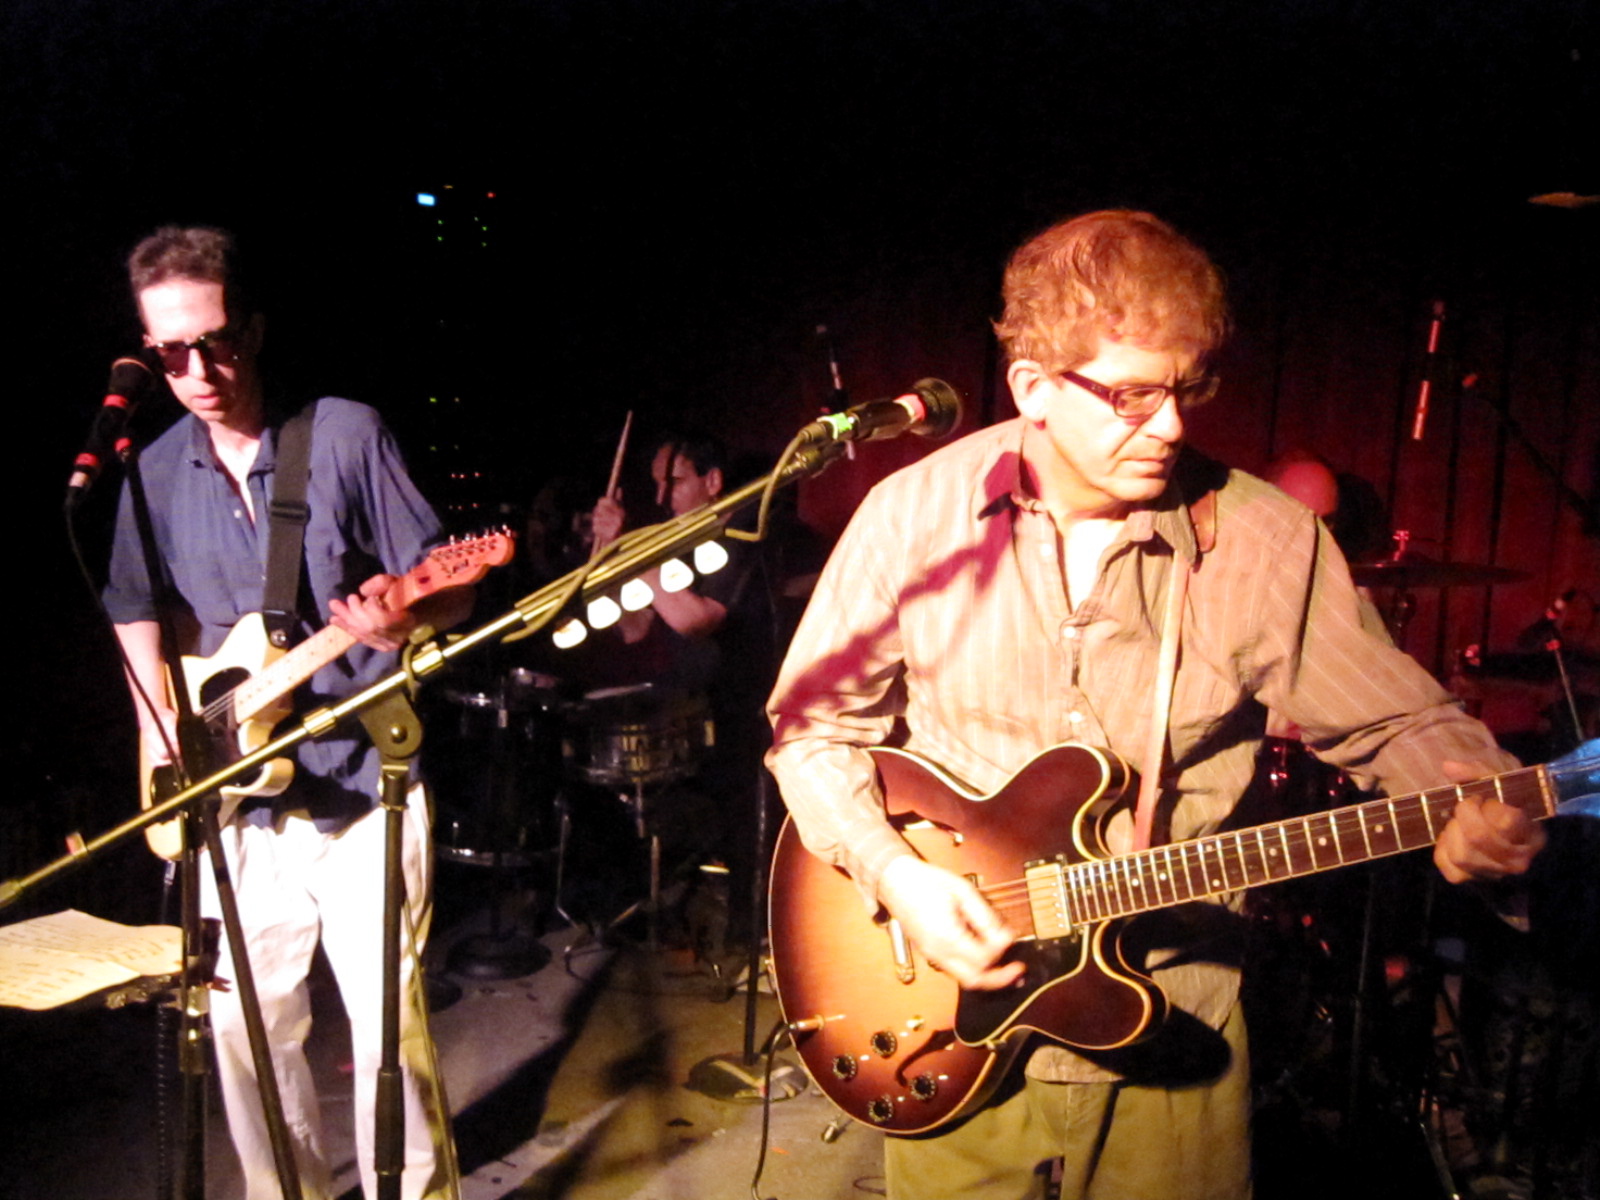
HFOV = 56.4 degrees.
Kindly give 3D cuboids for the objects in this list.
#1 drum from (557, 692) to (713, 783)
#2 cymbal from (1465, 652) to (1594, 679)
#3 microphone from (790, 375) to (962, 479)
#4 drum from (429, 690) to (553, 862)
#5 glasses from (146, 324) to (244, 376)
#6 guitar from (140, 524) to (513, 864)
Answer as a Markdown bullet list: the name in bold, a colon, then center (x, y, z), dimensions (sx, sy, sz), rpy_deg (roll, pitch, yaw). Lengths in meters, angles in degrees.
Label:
- **drum**: center (-0.799, 0.675, 7.321), dimensions (0.753, 0.448, 0.444), rpy_deg (1, 13, -5)
- **cymbal**: center (3.059, 0.269, 6.168), dimensions (0.318, 0.069, 0.171), rpy_deg (-5, -1, 43)
- **microphone**: center (0.219, -0.443, 3.840), dimensions (0.510, 0.210, 0.178), rpy_deg (-23, 46, -40)
- **drum**: center (-1.518, 0.935, 7.848), dimensions (0.841, 0.986, 0.845), rpy_deg (0, 5, -19)
- **glasses**: center (-1.918, -0.760, 4.649), dimensions (0.176, 0.160, 0.541), rpy_deg (0, 13, -6)
- **guitar**: center (-1.550, 0.240, 5.010), dimensions (1.766, 0.719, 0.185), rpy_deg (-37, -23, 23)
